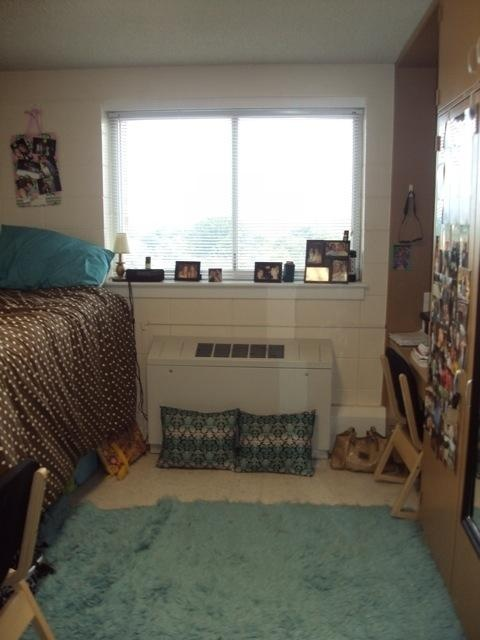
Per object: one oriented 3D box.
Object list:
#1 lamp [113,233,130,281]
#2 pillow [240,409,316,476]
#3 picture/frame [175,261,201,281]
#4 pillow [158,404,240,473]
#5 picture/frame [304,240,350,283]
[{"bbox_3d":[-0.786,-0.413,3.226,0.097,0.296,0.350,-1,5,-14],"label":"lamp"},{"bbox_3d":[0.212,0.715,2.785,0.284,0.287,0.100,-1,-5,5],"label":"pillow"},{"bbox_3d":[-0.339,-0.311,3.187,0.101,0.107,0.039,1,-4,3],"label":"picture/frame"},{"bbox_3d":[-0.229,0.706,2.839,0.300,0.297,0.105,0,-2,6],"label":"pillow"},{"bbox_3d":[0.562,-0.359,3.084,0.220,0.258,0.017,2,-1,7],"label":"picture/frame"}]
